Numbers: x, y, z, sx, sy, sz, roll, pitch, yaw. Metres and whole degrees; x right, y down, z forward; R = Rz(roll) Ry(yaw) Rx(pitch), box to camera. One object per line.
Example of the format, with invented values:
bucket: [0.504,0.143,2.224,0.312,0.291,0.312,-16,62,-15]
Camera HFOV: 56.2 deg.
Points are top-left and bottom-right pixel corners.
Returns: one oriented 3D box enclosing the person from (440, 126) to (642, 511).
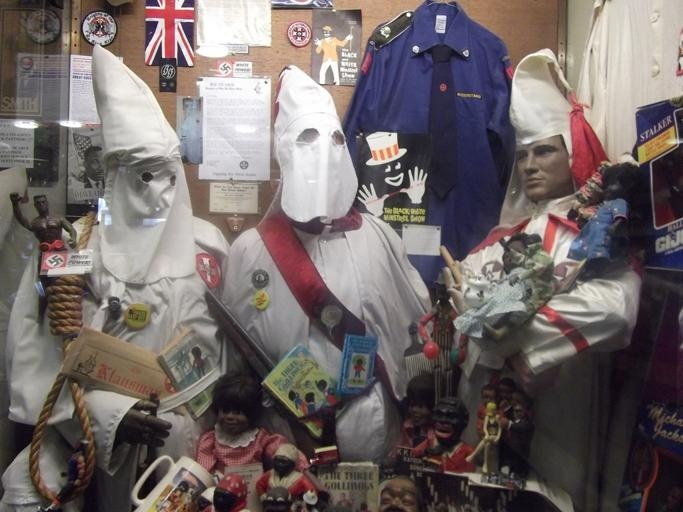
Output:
person: [0.682,0.187,2.228,0.607,1.278,0.472,2,6,9]

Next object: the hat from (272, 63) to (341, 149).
hat: [-0.150,-0.558,2.374,0.191,0.220,0.323,-12,41,-21]

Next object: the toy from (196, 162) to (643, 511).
toy: [0.275,0.318,2.180,0.961,1.049,0.338,0,-4,-2]

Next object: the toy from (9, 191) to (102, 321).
toy: [-0.987,0.015,2.183,0.275,0.450,0.238,-2,7,-24]

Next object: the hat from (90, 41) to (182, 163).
hat: [-0.770,-0.485,2.318,0.277,0.455,0.158,-24,7,-39]
